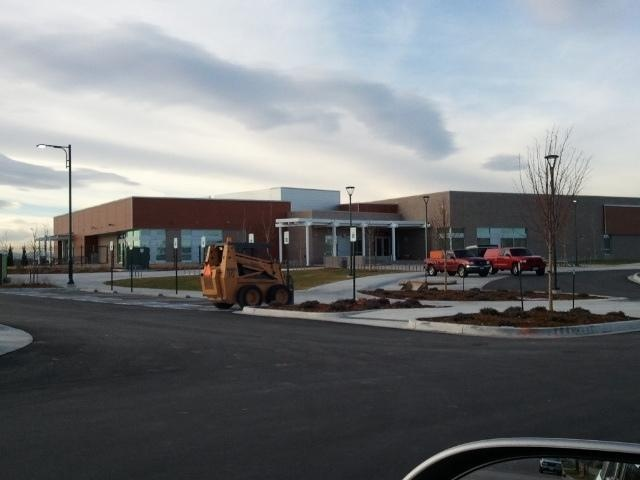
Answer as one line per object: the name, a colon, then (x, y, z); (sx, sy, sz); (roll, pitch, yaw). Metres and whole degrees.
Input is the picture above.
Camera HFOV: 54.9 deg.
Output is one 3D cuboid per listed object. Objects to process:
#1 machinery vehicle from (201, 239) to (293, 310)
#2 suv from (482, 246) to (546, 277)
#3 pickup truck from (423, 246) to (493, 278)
machinery vehicle: (-2.960, 1.508, 25.950); (3.672, 2.754, 2.534); (1, -2, -41)
suv: (13.098, 1.474, 41.597); (2.283, 1.313, 4.486); (-2, -2, -15)
pickup truck: (9.094, 1.617, 41.870); (2.304, 1.878, 4.428); (-1, -2, -22)
